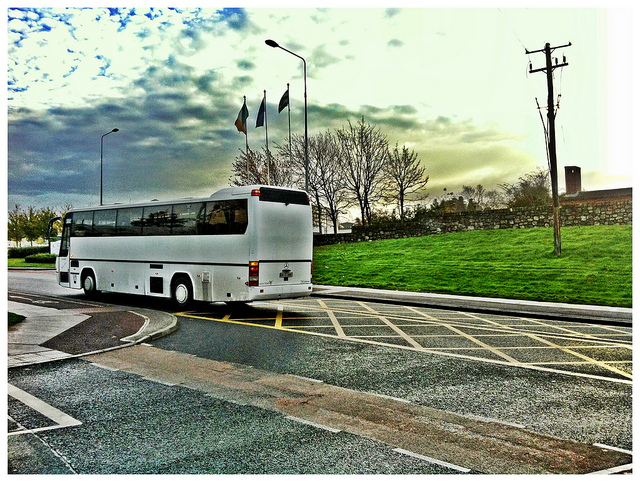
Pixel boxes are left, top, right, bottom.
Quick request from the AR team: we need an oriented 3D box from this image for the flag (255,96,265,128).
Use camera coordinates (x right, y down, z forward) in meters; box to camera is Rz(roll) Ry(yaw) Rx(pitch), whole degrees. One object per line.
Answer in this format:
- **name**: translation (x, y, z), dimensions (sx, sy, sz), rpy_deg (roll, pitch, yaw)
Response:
- **flag**: translation (-3.418, -7.342, 28.505), dimensions (0.477, 1.666, 0.914), rpy_deg (0, 5, -8)

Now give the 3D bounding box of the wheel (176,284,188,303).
- **wheel**: translation (-4.419, 1.696, 15.955), dimensions (0.046, 0.580, 0.579), rpy_deg (5, -10, -39)

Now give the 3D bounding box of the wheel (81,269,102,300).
- **wheel**: translation (-8.946, 1.666, 19.429), dimensions (0.867, 0.995, 0.371), rpy_deg (17, 11, 29)

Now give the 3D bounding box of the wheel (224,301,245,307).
- **wheel**: translation (-2.921, 2.145, 16.946), dimensions (0.474, 0.118, 0.525), rpy_deg (-1, -1, 34)

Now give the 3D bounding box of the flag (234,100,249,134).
- **flag**: translation (-4.792, -7.527, 30.447), dimensions (0.730, 1.885, 1.561), rpy_deg (-1, 5, -10)

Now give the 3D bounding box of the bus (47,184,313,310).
- **bus**: translation (-5.745, 0.255, 17.837), dimensions (11.871, 4.300, 2.492), rpy_deg (3, 6, 32)
